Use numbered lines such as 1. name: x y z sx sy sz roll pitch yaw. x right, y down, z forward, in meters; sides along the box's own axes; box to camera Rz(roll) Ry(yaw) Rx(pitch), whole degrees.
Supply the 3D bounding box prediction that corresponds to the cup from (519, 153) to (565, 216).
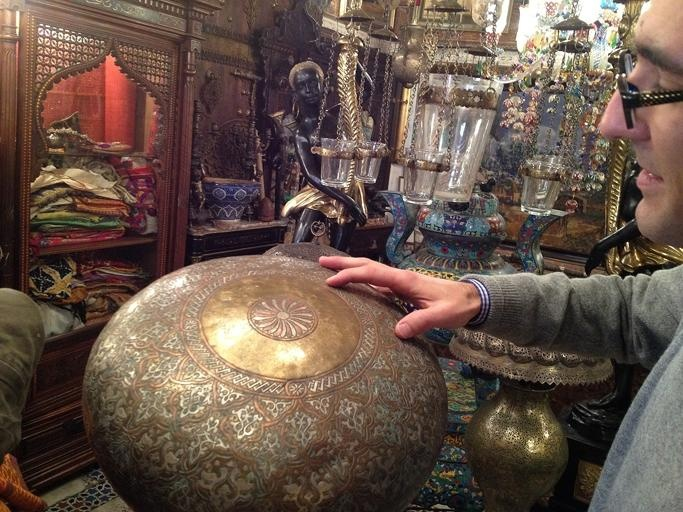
1. cup: 0.826 -0.274 1.790 0.209 0.243 0.208 0 7 0
